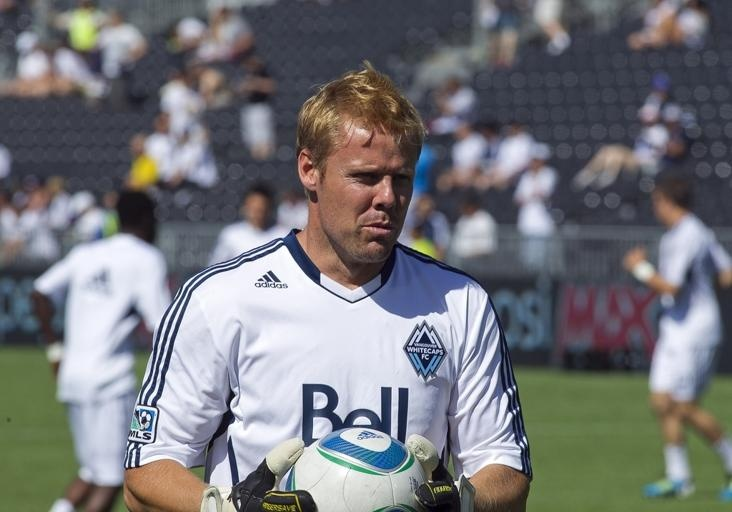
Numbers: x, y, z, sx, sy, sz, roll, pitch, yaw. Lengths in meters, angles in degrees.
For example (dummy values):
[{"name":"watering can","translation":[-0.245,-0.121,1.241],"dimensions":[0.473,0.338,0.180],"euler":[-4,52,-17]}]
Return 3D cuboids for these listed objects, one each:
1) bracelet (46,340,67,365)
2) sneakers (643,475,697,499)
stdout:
[{"name":"bracelet","translation":[-3.241,1.023,14.334],"dimensions":[0.173,0.238,0.123],"euler":[9,-9,-6]},{"name":"sneakers","translation":[3.251,2.474,14.720],"dimensions":[0.524,0.261,0.222],"euler":[-1,0,10]}]
